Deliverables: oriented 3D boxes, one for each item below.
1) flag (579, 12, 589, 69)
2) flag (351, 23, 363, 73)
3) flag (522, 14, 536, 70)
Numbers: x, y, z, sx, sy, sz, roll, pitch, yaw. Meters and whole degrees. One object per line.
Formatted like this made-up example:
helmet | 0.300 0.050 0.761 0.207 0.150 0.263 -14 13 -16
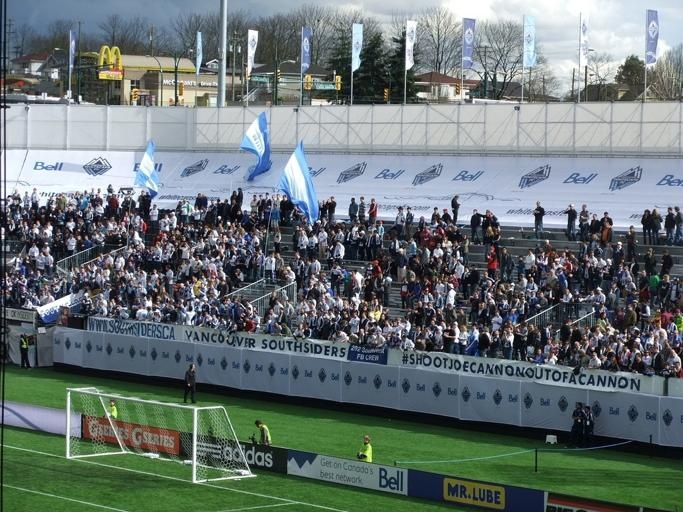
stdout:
flag | 15.329 -13.776 102.756 0.646 3.073 0.061 3 4 37
flag | 1.034 -14.303 111.795 0.685 3.444 0.064 1 30 -1
flag | 12.016 -13.675 104.680 0.799 3.774 0.189 8 26 23
